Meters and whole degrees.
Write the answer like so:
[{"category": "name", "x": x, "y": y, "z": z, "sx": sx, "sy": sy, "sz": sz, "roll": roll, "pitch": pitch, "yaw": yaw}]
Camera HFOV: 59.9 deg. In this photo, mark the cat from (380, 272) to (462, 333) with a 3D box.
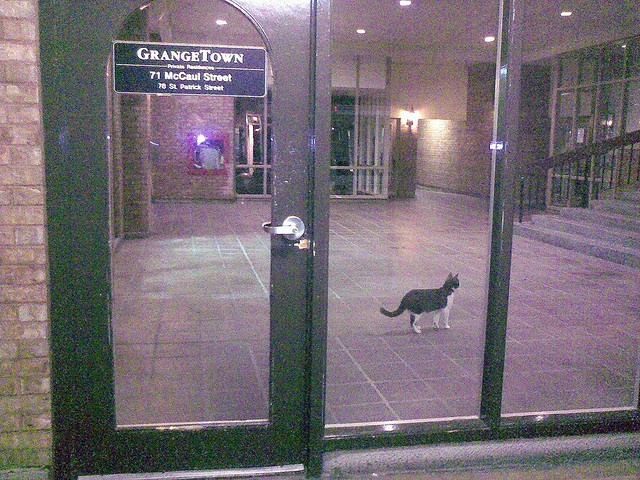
[{"category": "cat", "x": 0.937, "y": 0.560, "z": 4.983, "sx": 0.780, "sy": 0.493, "sz": 0.386, "roll": -9, "pitch": 12, "yaw": -37}]
